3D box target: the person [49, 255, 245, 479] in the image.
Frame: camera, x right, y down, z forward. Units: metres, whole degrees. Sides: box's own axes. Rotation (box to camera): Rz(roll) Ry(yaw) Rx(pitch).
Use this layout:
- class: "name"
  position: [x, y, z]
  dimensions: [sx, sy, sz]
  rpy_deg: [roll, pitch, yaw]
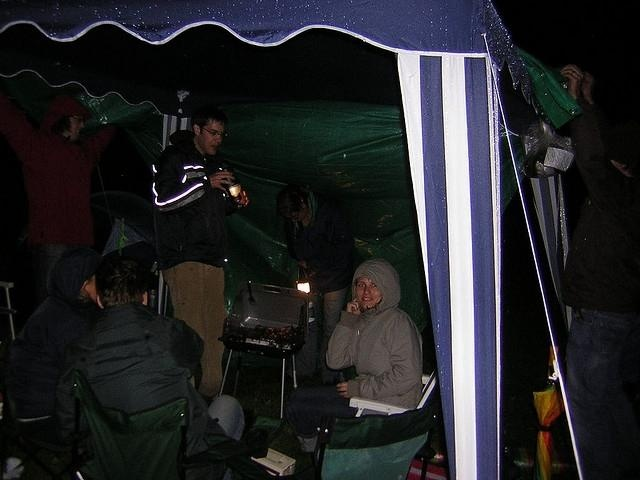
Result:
- class: "person"
  position: [-0.904, 0.728, 3.152]
  dimensions: [1.001, 1.276, 0.618]
  rpy_deg: [3, -6, -25]

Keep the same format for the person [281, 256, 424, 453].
- class: "person"
  position: [0.250, 0.879, 4.032]
  dimensions: [0.849, 1.426, 0.635]
  rpy_deg: [3, 3, 2]

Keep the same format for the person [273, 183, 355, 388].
- class: "person"
  position: [-0.026, 0.424, 5.472]
  dimensions: [0.650, 1.946, 0.666]
  rpy_deg: [-3, 14, 3]

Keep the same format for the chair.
- class: "chair"
  position: [-0.950, 0.896, 3.720]
  dimensions: [1.526, 0.840, 1.581]
  rpy_deg: [-12, -32, 31]
